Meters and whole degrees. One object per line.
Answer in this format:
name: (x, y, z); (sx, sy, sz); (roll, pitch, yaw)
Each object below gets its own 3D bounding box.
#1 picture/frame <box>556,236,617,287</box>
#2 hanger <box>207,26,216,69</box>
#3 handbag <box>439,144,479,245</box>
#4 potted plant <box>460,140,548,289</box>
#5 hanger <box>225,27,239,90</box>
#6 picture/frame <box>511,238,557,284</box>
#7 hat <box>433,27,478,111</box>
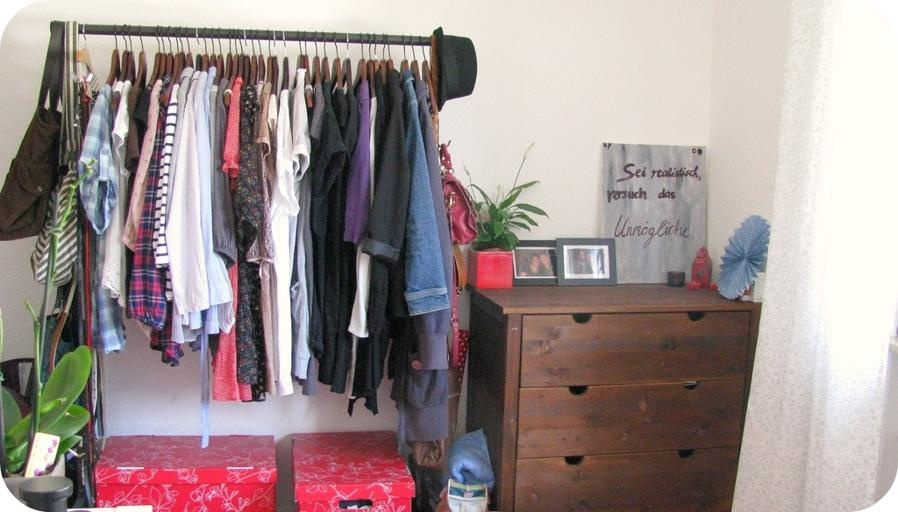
picture/frame: (0.736, 0.038, 3.648); (0.277, 0.207, 0.018); (3, -14, -12)
hanger: (-1.134, -0.993, 3.244); (0.035, 0.163, 0.280); (-7, 29, -14)
handbag: (0.060, -0.300, 3.322); (0.096, 0.481, 0.247); (0, -1, 44)
potted plant: (0.291, -0.183, 3.593); (0.387, 0.679, 0.506); (-5, 7, -22)
hanger: (-1.001, -0.891, 3.139); (0.080, 0.161, 0.008); (7, 19, 4)
picture/frame: (0.447, 0.038, 3.603); (0.247, 0.204, 0.018); (7, -17, -12)
hat: (0.029, -0.923, 3.359); (0.243, 0.361, 0.385); (-6, 0, -11)
